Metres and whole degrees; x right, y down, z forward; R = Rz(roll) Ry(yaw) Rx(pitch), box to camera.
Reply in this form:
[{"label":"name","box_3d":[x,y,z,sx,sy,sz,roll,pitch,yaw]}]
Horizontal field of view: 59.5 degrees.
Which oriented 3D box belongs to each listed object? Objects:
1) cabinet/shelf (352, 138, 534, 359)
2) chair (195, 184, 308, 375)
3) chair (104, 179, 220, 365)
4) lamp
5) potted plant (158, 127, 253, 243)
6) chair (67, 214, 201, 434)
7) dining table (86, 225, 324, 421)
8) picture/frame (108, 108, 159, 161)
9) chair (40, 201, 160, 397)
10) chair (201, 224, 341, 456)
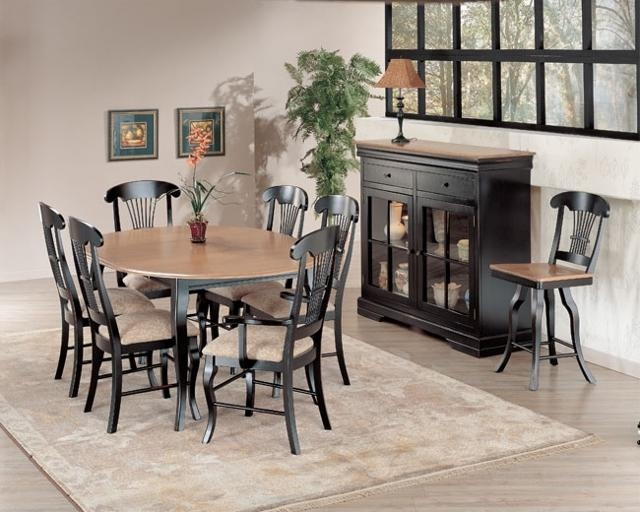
[{"label":"cabinet/shelf","box_3d":[0.972,-0.118,4.657,0.642,1.475,1.550,-10,15,-30]},{"label":"chair","box_3d":[-0.447,0.094,4.037,0.721,1.200,0.664,-6,15,-20]},{"label":"chair","box_3d":[-1.330,-0.106,4.248,0.576,0.840,0.572,-9,21,-29]},{"label":"lamp","box_3d":[0.688,-1.324,4.804,0.488,0.657,0.455,2,17,10]},{"label":"potted plant","box_3d":[-0.862,-0.463,3.828,0.643,0.766,0.644,1,-5,-33]},{"label":"chair","box_3d":[-1.047,0.394,3.227,0.696,1.060,0.659,0,4,-23]},{"label":"dining table","box_3d":[-0.664,0.528,3.523,1.095,0.749,1.555,-4,11,-30]},{"label":"picture/frame","box_3d":[-2.111,-1.380,6.277,0.658,0.616,0.049,-1,8,-26]},{"label":"chair","box_3d":[-1.228,0.339,3.479,0.673,1.134,0.602,-6,27,-46]},{"label":"chair","box_3d":[-0.254,0.421,3.048,0.633,1.080,0.665,3,4,29]}]
